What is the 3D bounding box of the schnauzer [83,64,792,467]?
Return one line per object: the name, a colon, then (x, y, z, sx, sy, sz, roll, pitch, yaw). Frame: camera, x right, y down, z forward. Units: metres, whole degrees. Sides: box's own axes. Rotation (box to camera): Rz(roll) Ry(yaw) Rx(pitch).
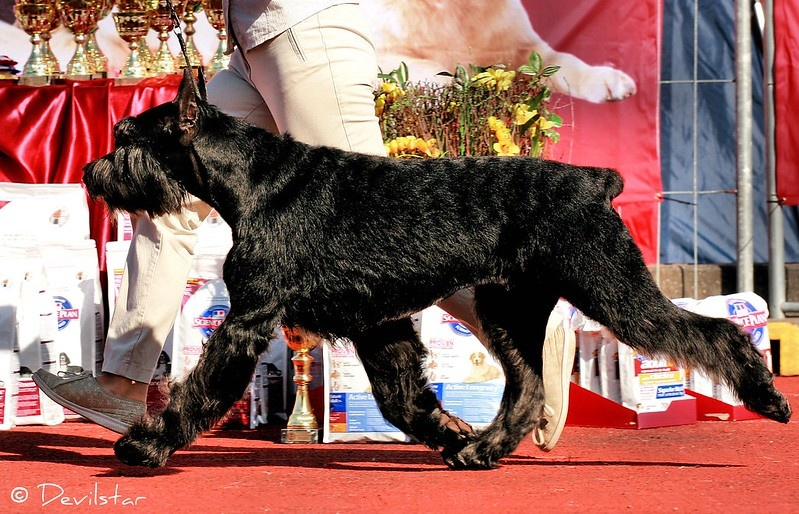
schnauzer: (0.015, 0.082, 5.084, 2.944, 1.837, 0.454, -1, 14, -1)
